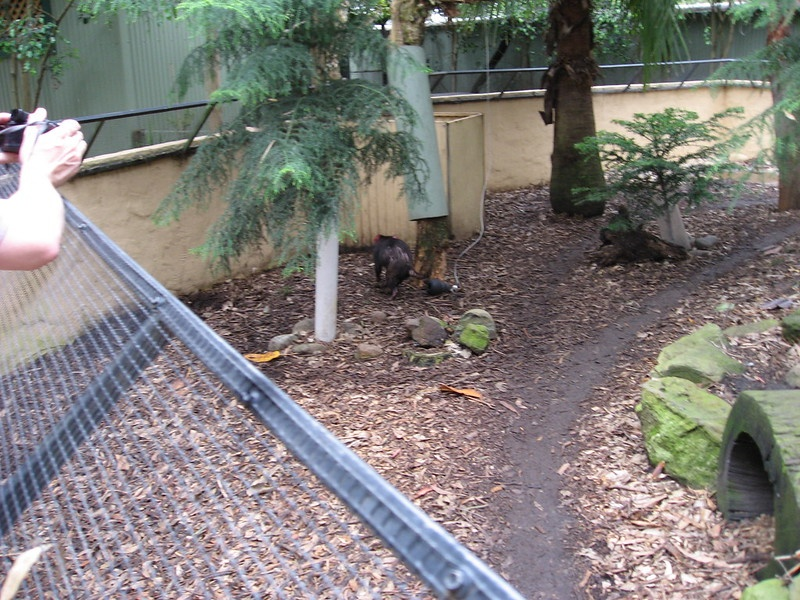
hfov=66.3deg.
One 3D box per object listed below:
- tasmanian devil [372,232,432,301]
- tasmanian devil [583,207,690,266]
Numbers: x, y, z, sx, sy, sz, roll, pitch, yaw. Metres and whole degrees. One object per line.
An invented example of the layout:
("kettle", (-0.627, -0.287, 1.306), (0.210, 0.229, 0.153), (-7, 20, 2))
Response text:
("tasmanian devil", (-0.043, -0.377, 6.928), (0.469, 0.662, 0.502), (-8, 22, -16))
("tasmanian devil", (2.932, -0.770, 7.516), (1.102, 0.678, 0.533), (3, 21, 11))
